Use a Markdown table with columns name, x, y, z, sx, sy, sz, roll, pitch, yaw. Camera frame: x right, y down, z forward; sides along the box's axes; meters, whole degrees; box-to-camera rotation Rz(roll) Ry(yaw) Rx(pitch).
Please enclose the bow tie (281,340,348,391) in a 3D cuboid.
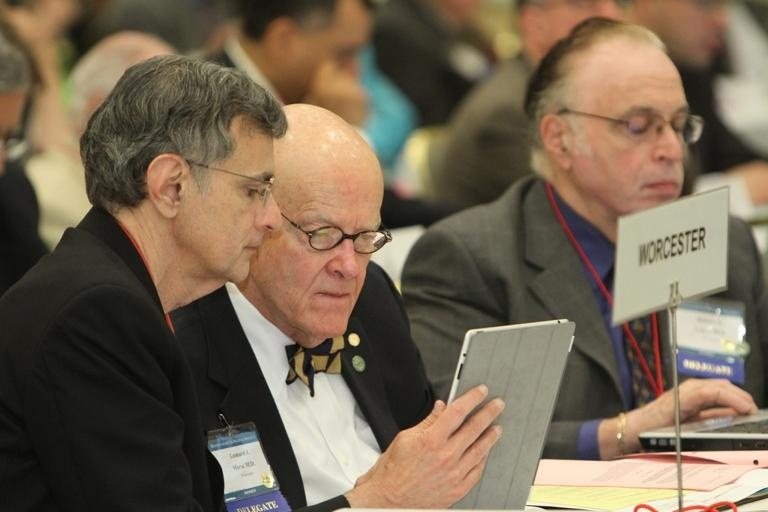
| name | x | y | z | sx | sy | sz | roll | pitch | yaw |
| --- | --- | --- | --- | --- | --- | --- | --- | --- | --- |
| bow tie | -0.242 | 0.385 | 3.205 | 0.182 | 0.181 | 0.064 | -7 | -1 | -39 |
